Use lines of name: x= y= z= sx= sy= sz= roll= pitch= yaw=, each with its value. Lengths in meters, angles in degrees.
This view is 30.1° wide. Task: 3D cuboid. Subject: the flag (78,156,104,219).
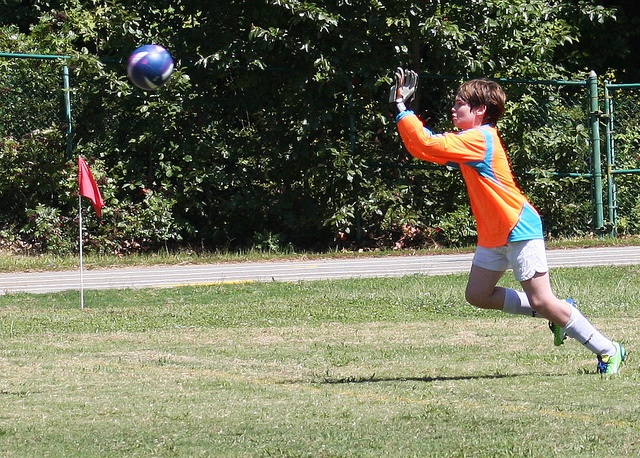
flag: x=-3.349 y=-0.585 z=17.391 sx=0.243 sy=0.747 sz=0.186 roll=-11 pitch=5 yaw=-15

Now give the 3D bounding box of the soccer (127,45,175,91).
soccer: x=-2.474 y=-2.351 z=17.274 sx=0.550 sy=0.667 sz=0.564 roll=-1 pitch=10 yaw=-25
